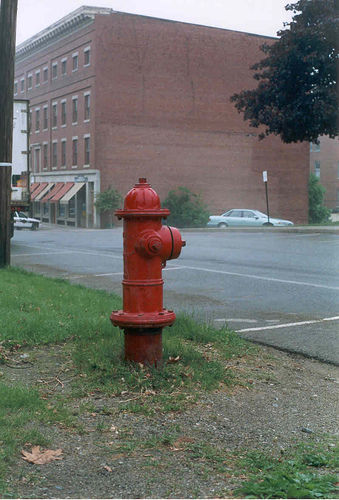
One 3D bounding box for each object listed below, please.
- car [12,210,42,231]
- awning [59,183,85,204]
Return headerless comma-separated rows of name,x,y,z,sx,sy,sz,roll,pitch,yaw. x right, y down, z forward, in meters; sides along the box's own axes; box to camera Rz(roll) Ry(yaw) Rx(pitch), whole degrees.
car,-8.229,-1.741,37.902,1.287,1.125,2.830,-1,-1,-14
awning,-6.571,-3.913,44.082,0.841,1.312,2.619,-1,-1,-29
